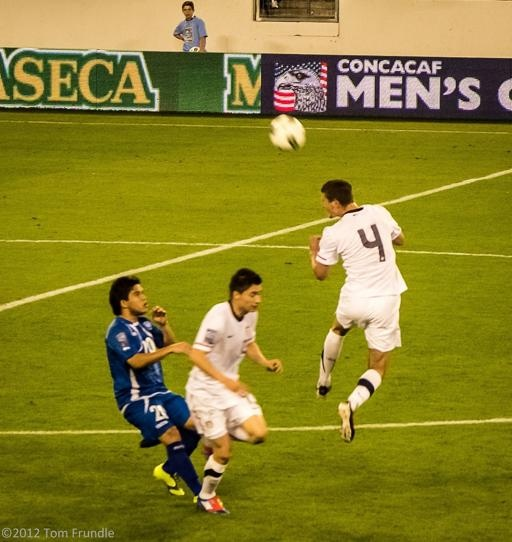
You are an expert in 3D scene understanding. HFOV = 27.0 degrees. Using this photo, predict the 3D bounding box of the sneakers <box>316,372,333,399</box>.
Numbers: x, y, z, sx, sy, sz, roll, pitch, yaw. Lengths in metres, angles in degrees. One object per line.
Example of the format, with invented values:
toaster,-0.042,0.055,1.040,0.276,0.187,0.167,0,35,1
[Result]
sneakers,0.612,1.046,9.665,0.096,0.178,0.262,11,-25,3

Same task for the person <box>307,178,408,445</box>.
person,0.858,0.294,8.994,0.795,2.081,1.525,-1,13,4

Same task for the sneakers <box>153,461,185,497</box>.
sneakers,-0.664,1.564,8.092,0.232,0.249,0.290,-3,13,-7

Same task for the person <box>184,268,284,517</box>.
person,-0.216,0.849,7.876,0.606,1.713,0.847,-2,13,-1

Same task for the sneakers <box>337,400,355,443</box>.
sneakers,0.702,1.167,8.296,0.113,0.332,0.142,-4,14,5

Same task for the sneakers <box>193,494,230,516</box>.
sneakers,-0.321,1.706,7.785,0.209,0.088,0.109,6,8,30
